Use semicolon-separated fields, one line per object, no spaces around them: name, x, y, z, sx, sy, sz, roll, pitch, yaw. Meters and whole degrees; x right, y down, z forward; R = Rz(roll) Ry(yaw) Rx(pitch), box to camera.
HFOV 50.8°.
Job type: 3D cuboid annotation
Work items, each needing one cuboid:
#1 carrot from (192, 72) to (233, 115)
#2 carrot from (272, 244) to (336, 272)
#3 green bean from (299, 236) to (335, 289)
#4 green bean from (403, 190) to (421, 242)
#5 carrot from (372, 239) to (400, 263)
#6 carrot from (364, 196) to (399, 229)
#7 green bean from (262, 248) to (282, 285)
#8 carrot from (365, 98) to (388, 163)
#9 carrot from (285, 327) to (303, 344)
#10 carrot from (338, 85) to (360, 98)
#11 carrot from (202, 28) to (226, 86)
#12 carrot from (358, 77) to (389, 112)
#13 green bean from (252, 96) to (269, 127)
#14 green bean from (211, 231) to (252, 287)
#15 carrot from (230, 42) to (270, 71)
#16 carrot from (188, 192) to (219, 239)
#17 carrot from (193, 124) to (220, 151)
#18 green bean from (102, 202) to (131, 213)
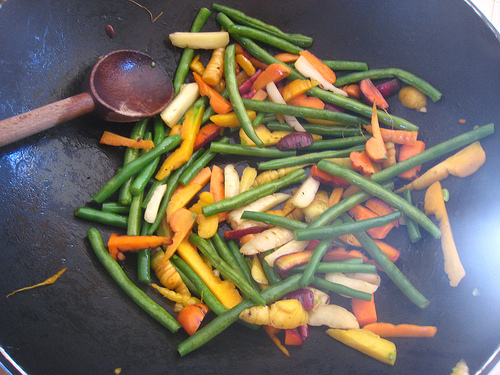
carrot;-0.276;-0.676;3.939;0.422;0.111;0.174;48;39;3
carrot;0.324;0.529;3.771;0.325;0.108;0.118;-9;54;-21
green bean;0.459;0.520;3.712;0.075;0.245;0.378;28;51;13
green bean;1.198;0.214;3.980;0.081;0.076;0.410;-5;74;-15
carrot;1.003;0.458;3.934;0.213;0.051;0.125;50;34;16
carrot;0.970;0.182;3.979;0.167;0.075;0.323;-25;32;8
green bean;0.142;0.568;3.762;0.213;0.051;0.183;60;39;-16
carrot;0.931;-0.401;3.908;0.127;0.100;0.407;-4;83;-11
carrot;0.313;1.051;3.729;0.128;0.080;0.084;2;50;-12
carrot;0.802;-0.760;4.179;0.156;0.053;0.090;22;78;1
carrot;-0.245;-1.002;4.115;0.132;0.130;0.470;20;65;-4
carrot;0.937;-0.716;4.059;0.277;0.085;0.163;59;28;8
green bean;0.079;-0.555;3.951;0.041;0.044;0.187;25;87;45
green bean;-0.140;0.520;3.766;0.069;0.072;0.407;-27;78;-42
carrot;-0.007;-1.005;4.037;0.287;0.064;0.075;44;94;8
carrot;-0.310;0.170;3.779;0.065;0.260;0.168;51;49;-4
carrot;-0.337;-0.387;3.963;0.122;0.078;0.242;40;90;32
green bean;-0.966;0.146;3.812;0.232;0.076;0.079;4;54;-14
